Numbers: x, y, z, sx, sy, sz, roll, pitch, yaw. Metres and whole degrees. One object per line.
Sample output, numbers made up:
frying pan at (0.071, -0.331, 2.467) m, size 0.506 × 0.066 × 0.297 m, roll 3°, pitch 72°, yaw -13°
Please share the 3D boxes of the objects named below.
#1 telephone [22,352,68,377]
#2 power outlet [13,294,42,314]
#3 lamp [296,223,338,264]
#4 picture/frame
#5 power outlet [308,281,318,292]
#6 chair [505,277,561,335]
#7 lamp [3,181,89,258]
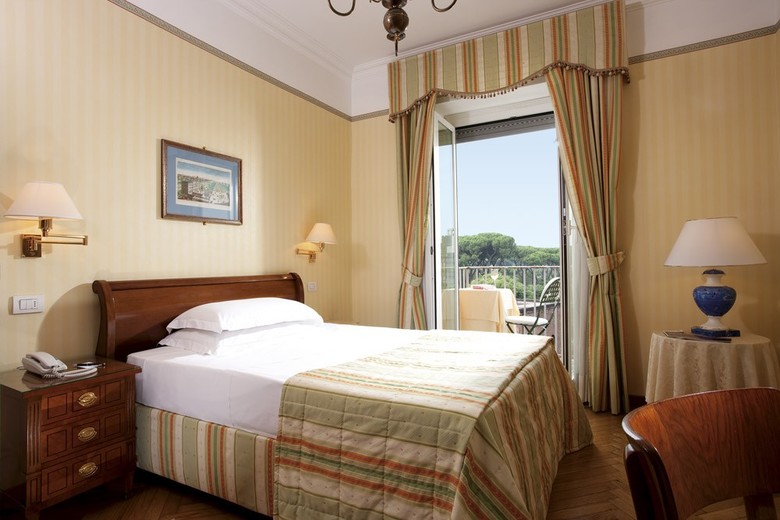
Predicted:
telephone at (-2.290, 0.671, 3.472) m, size 0.253 × 0.097 × 0.151 m, roll 10°, pitch 8°, yaw 17°
power outlet at (-2.560, 0.306, 3.683) m, size 0.044 × 0.118 × 0.137 m, roll 0°, pitch 0°, yaw 34°
lamp at (-0.751, -0.178, 5.582) m, size 0.342 × 0.442 × 0.444 m, roll 4°, pitch -1°, yaw -37°
picture/frame at (-1.659, -0.672, 4.539) m, size 0.084 × 0.698 × 0.807 m, roll -2°, pitch -2°, yaw 37°
power outlet at (-0.831, 0.282, 5.590) m, size 0.012 × 0.085 × 0.117 m, roll 1°, pitch 1°, yaw 31°
chair at (1.804, 0.744, 6.599) m, size 0.703 × 1.026 × 0.497 m, roll -6°, pitch -5°, yaw 40°
lamp at (-2.391, -0.265, 3.646) m, size 0.521 × 0.543 × 0.452 m, roll 1°, pitch 1°, yaw 5°
